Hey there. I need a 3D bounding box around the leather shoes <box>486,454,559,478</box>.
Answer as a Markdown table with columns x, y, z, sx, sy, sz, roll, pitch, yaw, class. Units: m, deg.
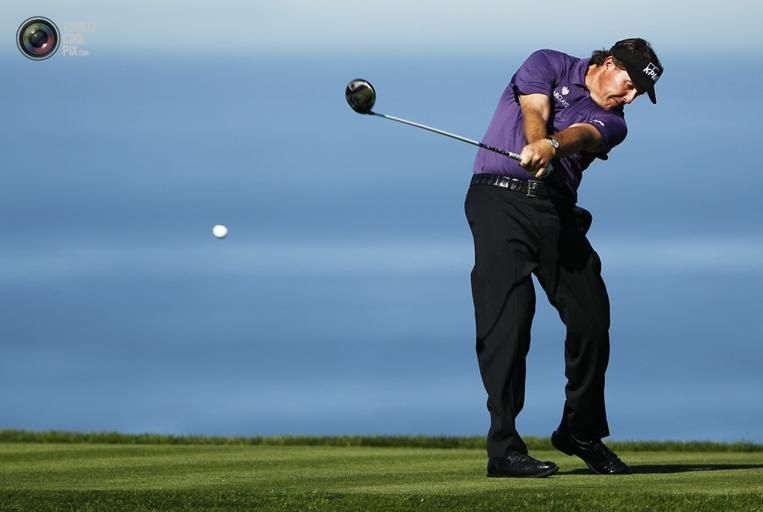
| x | y | z | sx | sy | sz | roll | pitch | yaw | class |
| --- | --- | --- | --- | --- | --- | --- | --- | --- | --- |
| 0.841 | 1.294 | 9.454 | 0.458 | 0.150 | 0.161 | -2 | 2 | 15 | leather shoes |
